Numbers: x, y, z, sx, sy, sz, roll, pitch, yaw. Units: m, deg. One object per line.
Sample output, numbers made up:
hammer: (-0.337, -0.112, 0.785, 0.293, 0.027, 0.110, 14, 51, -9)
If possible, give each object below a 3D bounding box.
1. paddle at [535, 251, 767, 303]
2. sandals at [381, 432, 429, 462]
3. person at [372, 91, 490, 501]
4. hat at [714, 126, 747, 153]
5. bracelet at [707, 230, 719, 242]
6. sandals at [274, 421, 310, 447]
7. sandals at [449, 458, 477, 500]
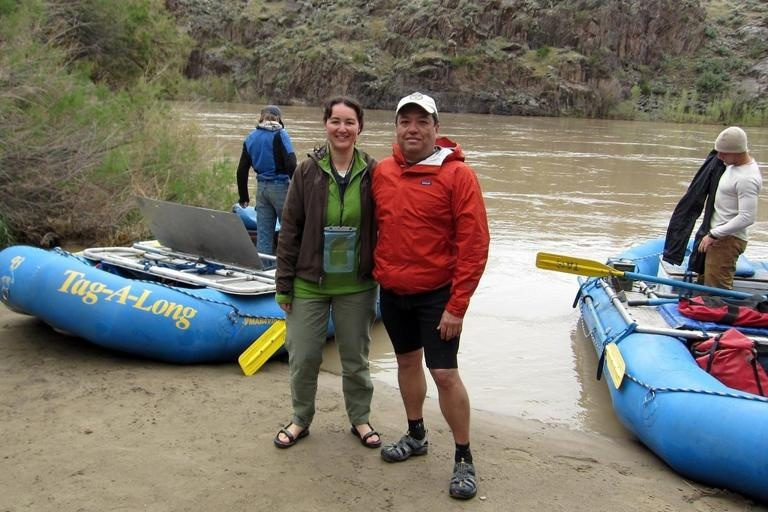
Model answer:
paddle: (3.204, 0.259, 7.650, 2.742, 0.374, 0.170, 10, -13, -9)
sandals: (0.162, 1.605, 5.474, 0.407, 0.195, 0.169, -1, 1, -16)
person: (0.335, 0.282, 5.102, 0.665, 2.976, 1.221, -13, 23, -42)
hat: (3.807, -1.232, 7.067, 0.373, 0.271, 0.331, 1, 6, -20)
bracelet: (3.608, -0.224, 7.102, 0.098, 0.064, 0.102, 7, 9, -24)
sandals: (-0.789, 1.514, 5.506, 0.140, 0.110, 0.314, 5, 4, 31)
sandals: (0.620, 1.736, 5.047, 0.229, 0.251, 0.195, 5, 17, 7)
